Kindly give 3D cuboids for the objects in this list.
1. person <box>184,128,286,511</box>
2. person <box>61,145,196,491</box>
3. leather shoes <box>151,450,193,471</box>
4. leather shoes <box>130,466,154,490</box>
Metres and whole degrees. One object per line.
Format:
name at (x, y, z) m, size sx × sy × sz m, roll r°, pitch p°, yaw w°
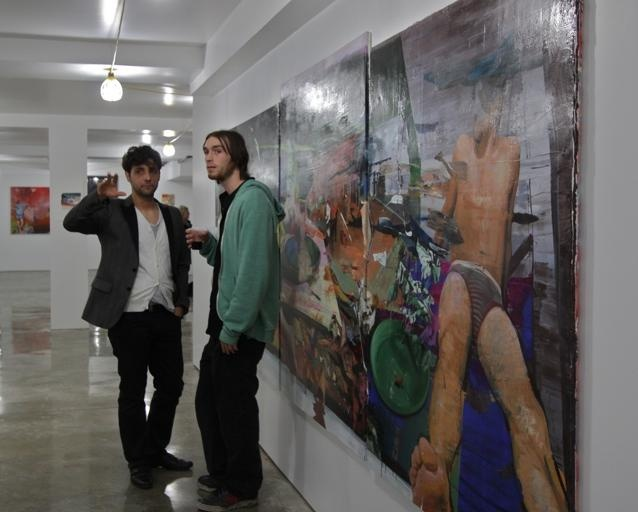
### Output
person at (-0.492, 0.400, 2.798) m, size 0.442 × 2.243 × 0.770 m, roll 0°, pitch 1°, yaw -26°
person at (-1.189, 0.509, 3.153) m, size 0.769 × 2.005 × 0.383 m, roll 0°, pitch 1°, yaw -33°
leather shoes at (-1.027, 1.456, 3.360) m, size 0.309 × 0.156 × 0.121 m, roll 2°, pitch 3°, yaw -7°
leather shoes at (-1.171, 1.447, 3.135) m, size 0.198 × 0.105 × 0.114 m, roll 1°, pitch 2°, yaw 10°
